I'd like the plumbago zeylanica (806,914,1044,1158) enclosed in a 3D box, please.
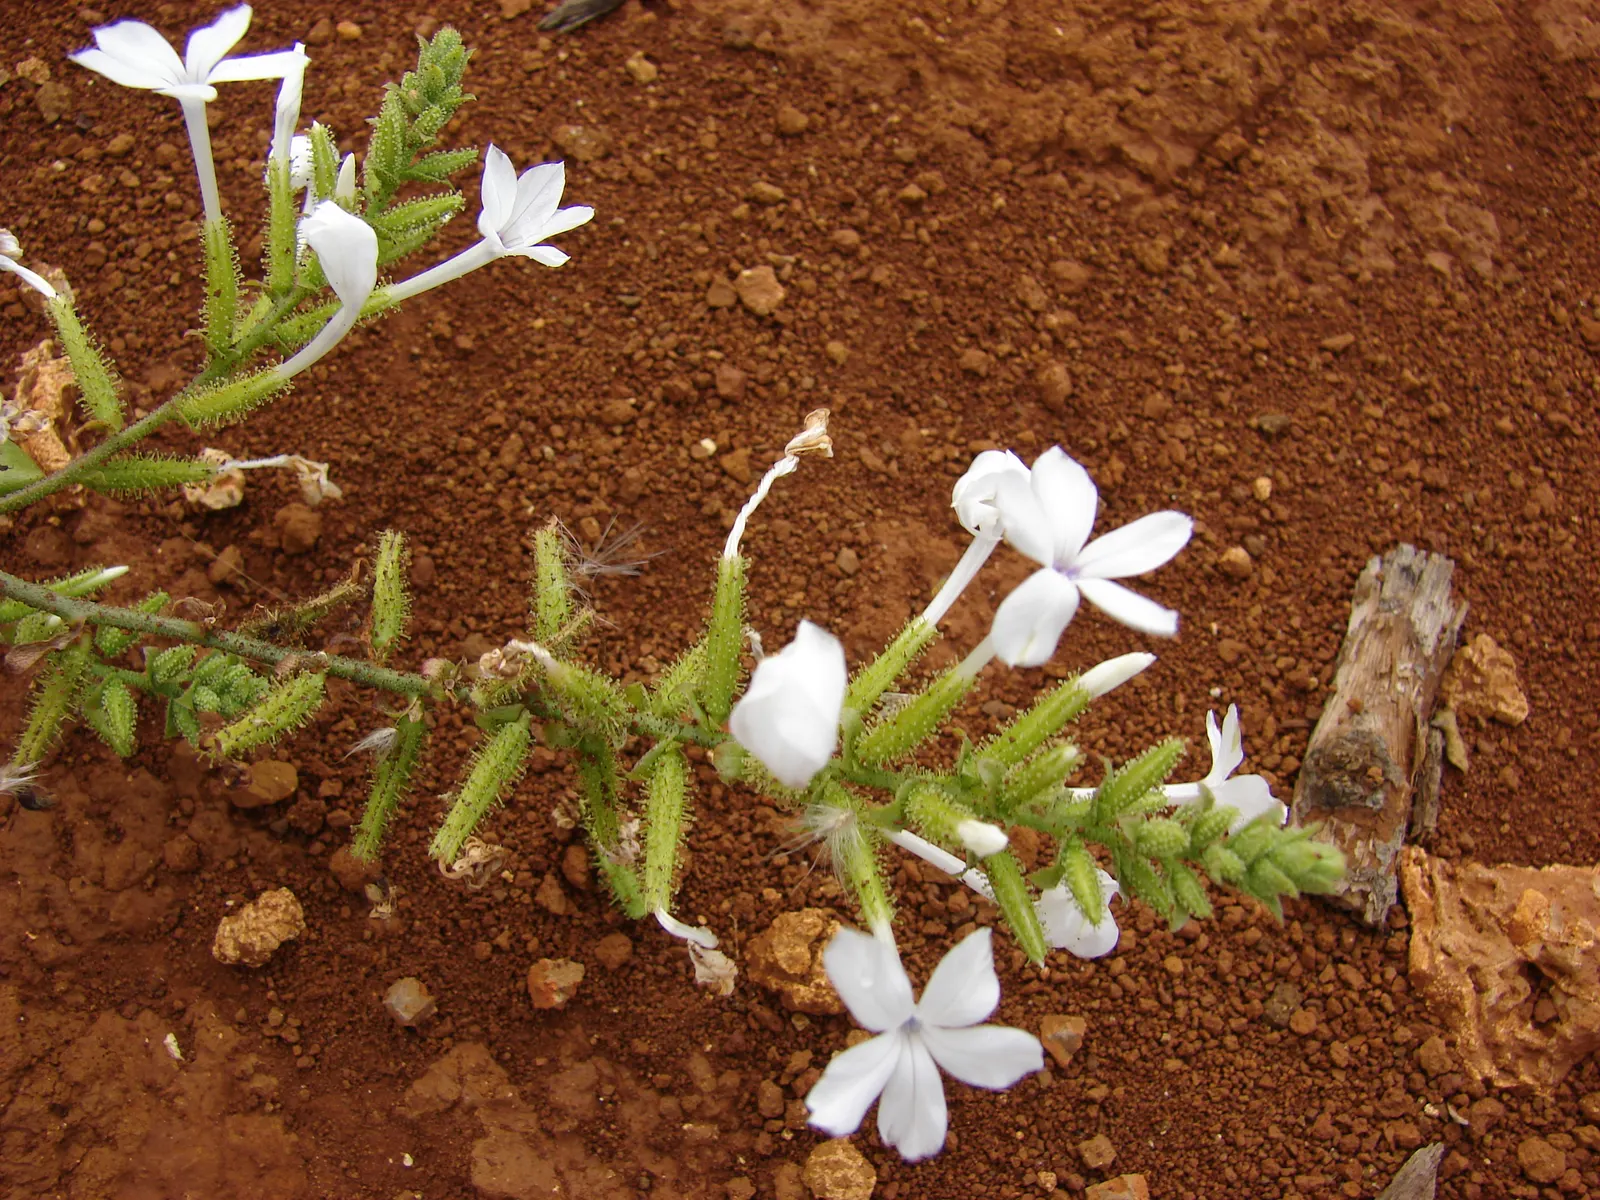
[{"bbox_3d":[0.228,0.992,3.644,0.438,0.499,0.163,20,83,-2],"label":"plumbago zeylanica"}]

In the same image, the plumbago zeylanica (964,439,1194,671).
[{"bbox_3d":[0.635,-0.083,3.733,0.599,0.687,0.229,13,64,36],"label":"plumbago zeylanica"}]

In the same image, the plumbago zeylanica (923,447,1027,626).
[{"bbox_3d":[0.495,-0.158,4.425,0.206,0.545,0.303,24,26,-6],"label":"plumbago zeylanica"}]

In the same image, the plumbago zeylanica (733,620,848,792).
[{"bbox_3d":[0.022,0.212,3.545,0.247,0.373,0.341,4,38,4],"label":"plumbago zeylanica"}]

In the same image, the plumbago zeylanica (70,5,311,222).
[{"bbox_3d":[-1.594,-1.287,4.078,0.534,0.561,0.366,37,52,9],"label":"plumbago zeylanica"}]

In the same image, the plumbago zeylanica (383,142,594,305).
[{"bbox_3d":[-0.836,-0.915,4.051,0.522,0.217,0.402,-21,80,-23],"label":"plumbago zeylanica"}]

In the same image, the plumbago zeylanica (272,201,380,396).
[{"bbox_3d":[-1.193,-0.756,3.887,0.240,0.519,0.173,7,51,-13],"label":"plumbago zeylanica"}]
